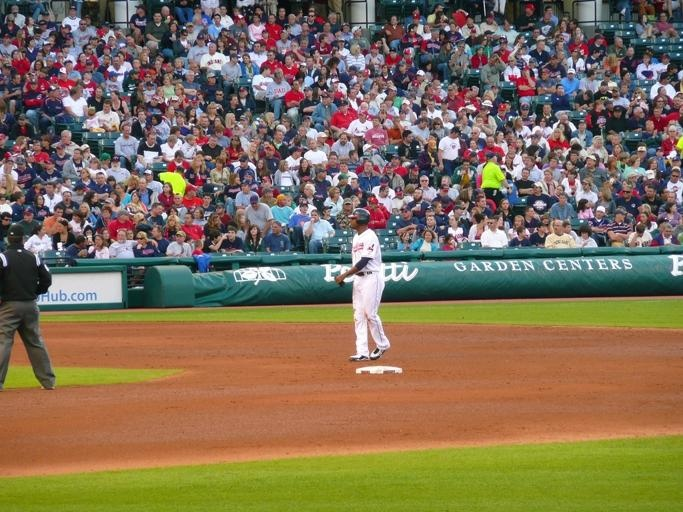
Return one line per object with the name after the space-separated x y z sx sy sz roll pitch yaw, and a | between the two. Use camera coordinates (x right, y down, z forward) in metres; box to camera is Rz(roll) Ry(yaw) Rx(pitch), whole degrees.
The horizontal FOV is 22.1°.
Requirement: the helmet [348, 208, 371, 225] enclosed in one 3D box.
0.355 -0.785 34.673 0.364 0.273 0.274 7 4 8 | helmet

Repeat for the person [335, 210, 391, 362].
0.502 0.631 34.672 0.760 3.053 0.696 -1 11 1 | person

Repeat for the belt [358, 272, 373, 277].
0.475 0.349 34.590 0.145 0.105 0.146 -7 -5 14 | belt
